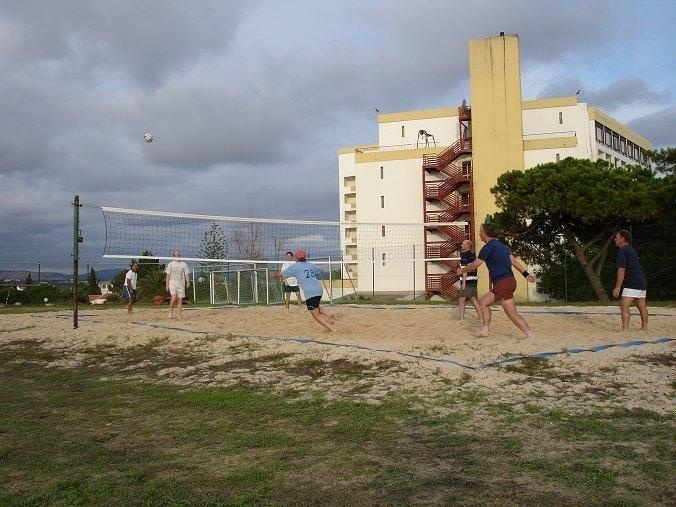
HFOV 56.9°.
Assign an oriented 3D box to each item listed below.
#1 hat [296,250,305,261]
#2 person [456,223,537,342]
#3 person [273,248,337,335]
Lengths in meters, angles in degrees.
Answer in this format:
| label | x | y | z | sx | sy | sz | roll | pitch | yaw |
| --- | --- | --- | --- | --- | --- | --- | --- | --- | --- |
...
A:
| label | x | y | z | sx | sy | sz | roll | pitch | yaw |
| --- | --- | --- | --- | --- | --- | --- | --- | --- | --- |
| hat | -0.631 | 0.036 | 10.502 | 0.128 | 0.171 | 0.167 | 1 | 11 | -7 |
| person | 2.332 | 0.435 | 9.178 | 0.585 | 1.737 | 0.999 | -6 | 7 | -31 |
| person | -0.526 | 0.667 | 10.830 | 0.789 | 1.511 | 1.080 | -3 | 6 | -4 |
